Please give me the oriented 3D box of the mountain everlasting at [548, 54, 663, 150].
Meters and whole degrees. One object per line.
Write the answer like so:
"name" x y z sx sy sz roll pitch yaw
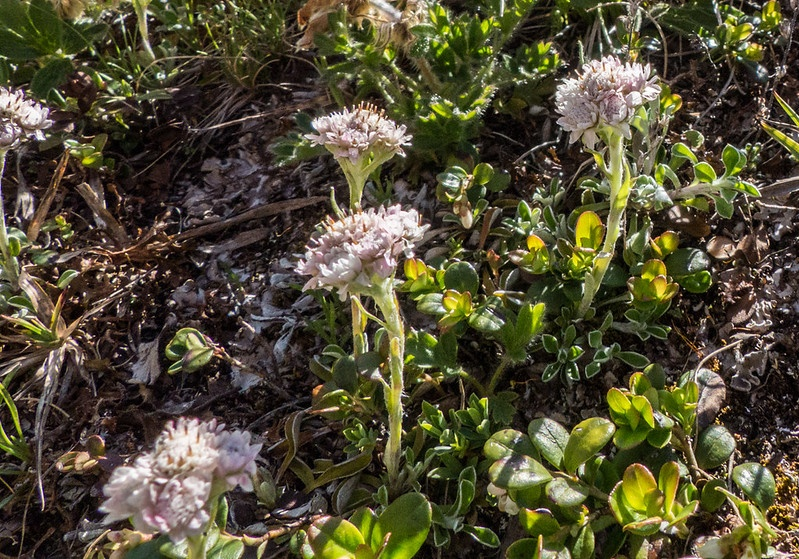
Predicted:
"mountain everlasting" 0.734 -0.628 2.695 0.339 0.309 0.302 10 38 5

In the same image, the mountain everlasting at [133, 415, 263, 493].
"mountain everlasting" -0.606 0.527 2.344 0.269 0.122 0.277 16 12 -20

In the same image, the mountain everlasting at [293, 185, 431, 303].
"mountain everlasting" -0.137 -0.136 2.525 0.352 0.249 0.369 -20 19 17

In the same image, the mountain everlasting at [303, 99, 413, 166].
"mountain everlasting" -0.151 -0.573 2.881 0.321 0.185 0.327 -18 46 -37
